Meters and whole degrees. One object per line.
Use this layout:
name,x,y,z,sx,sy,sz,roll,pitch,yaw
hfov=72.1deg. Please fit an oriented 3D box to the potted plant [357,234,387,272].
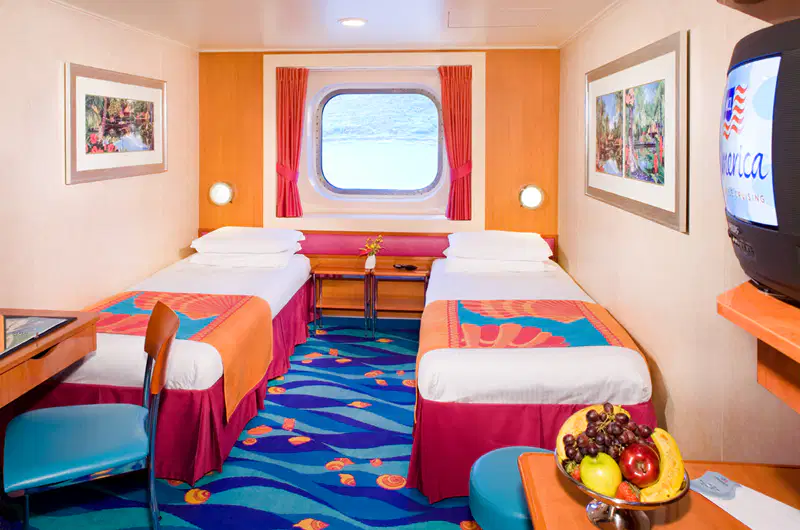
potted plant,-0.308,-0.126,5.883,0.356,0.505,0.242,-1,-14,11

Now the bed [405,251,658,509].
bed,0.921,0.644,4.671,1.560,0.788,2.943,0,13,4

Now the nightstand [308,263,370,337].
nightstand,-0.603,0.360,5.894,0.703,0.701,0.581,-1,13,0

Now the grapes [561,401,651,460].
grapes,0.730,0.610,2.002,0.245,0.145,0.251,-21,9,-18

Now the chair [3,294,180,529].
chair,-1.616,0.876,2.947,0.878,1.164,0.536,-6,14,-23

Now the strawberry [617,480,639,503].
strawberry,0.783,0.779,1.904,0.056,0.055,0.056,6,4,-28
